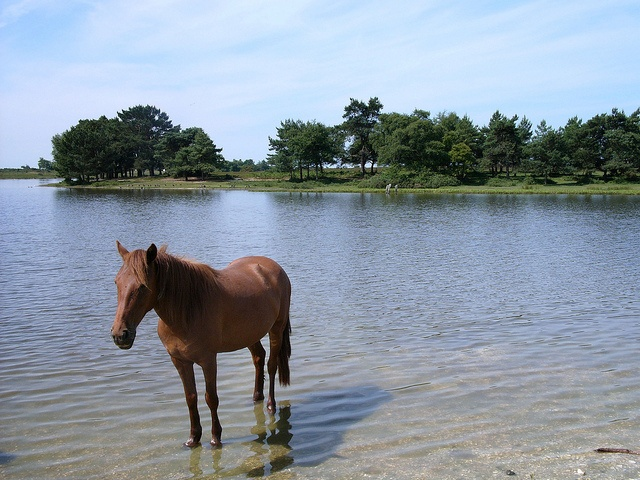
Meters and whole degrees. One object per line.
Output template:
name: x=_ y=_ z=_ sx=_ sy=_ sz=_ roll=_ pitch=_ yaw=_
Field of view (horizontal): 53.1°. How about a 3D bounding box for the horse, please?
horse: x=-2.485 y=2.198 z=14.232 sx=1.190 sy=4.439 sz=4.223 roll=2 pitch=7 yaw=42
